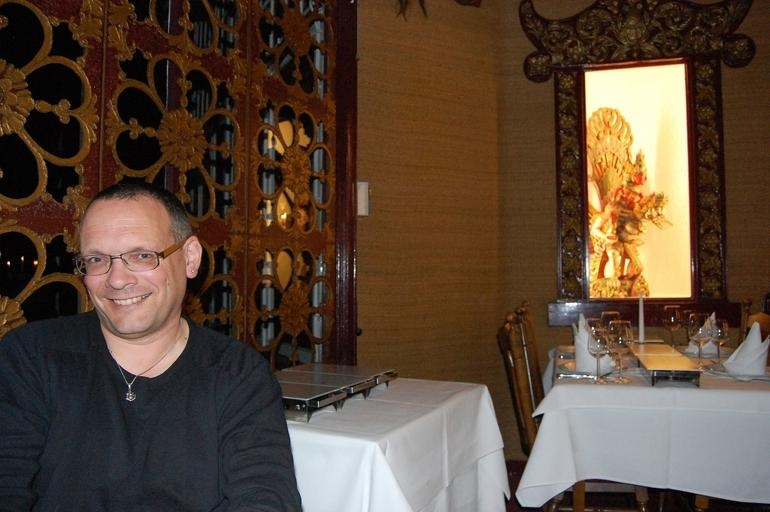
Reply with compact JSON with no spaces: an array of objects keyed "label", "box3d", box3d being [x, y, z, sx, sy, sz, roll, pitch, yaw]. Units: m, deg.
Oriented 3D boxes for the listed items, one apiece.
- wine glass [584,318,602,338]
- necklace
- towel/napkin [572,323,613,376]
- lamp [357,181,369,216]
[{"label":"wine glass","box3d":[1.260,0.439,3.963,0.092,0.092,0.094,0,1,5]},{"label":"necklace","box3d":[-1.022,0.452,2.753,0.194,0.284,0.072,15,-13,2]},{"label":"towel/napkin","box3d":[1.280,0.572,4.074,0.275,0.469,0.297,-3,-3,18]},{"label":"lamp","box3d":[-0.190,-0.477,5.420,0.103,0.281,0.046,-1,0,-10]}]
